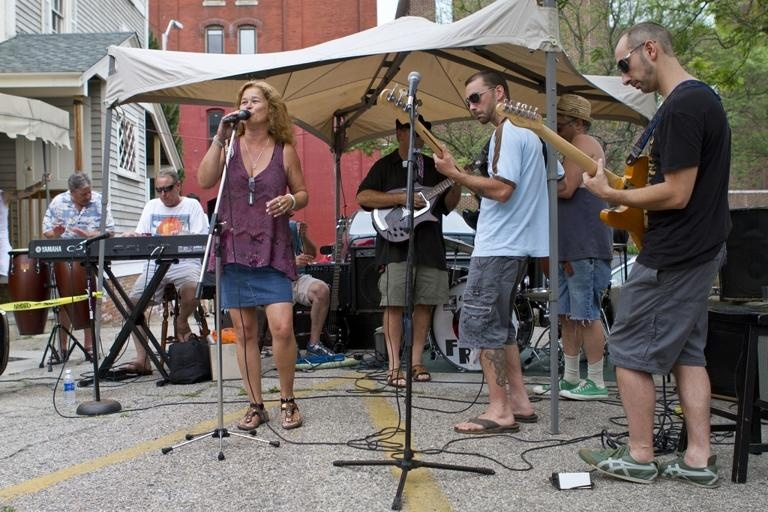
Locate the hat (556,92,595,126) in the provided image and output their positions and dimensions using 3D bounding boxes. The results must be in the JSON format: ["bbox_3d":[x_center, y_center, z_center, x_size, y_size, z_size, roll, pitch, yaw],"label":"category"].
[{"bbox_3d":[1.736,-1.371,7.772,0.308,0.172,0.225,22,3,4],"label":"hat"}]

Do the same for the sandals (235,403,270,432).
[{"bbox_3d":[-1.089,1.337,6.989,0.115,0.151,0.326,-2,-8,14],"label":"sandals"}]

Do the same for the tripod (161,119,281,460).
[{"bbox_3d":[-1.416,0.152,7.022,0.817,2.716,1.539,-1,1,-18],"label":"tripod"}]

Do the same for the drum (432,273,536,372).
[{"bbox_3d":[0.870,0.594,7.676,0.971,1.023,0.493,6,6,28],"label":"drum"}]

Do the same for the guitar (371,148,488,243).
[{"bbox_3d":[0.414,-0.544,7.992,1.211,0.529,0.145,-27,-10,12],"label":"guitar"}]

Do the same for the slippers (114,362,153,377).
[{"bbox_3d":[-2.623,1.202,8.897,0.280,0.105,0.150,9,-11,-41],"label":"slippers"}]

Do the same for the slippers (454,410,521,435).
[{"bbox_3d":[0.841,1.368,6.897,0.437,0.134,0.197,2,-9,-7],"label":"slippers"}]

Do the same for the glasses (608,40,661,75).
[{"bbox_3d":[1.802,-1.431,6.083,0.066,0.204,0.193,44,-8,8],"label":"glasses"}]

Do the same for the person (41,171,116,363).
[{"bbox_3d":[-3.567,0.028,10.021,0.714,2.050,0.637,-9,34,-31],"label":"person"}]

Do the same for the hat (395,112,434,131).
[{"bbox_3d":[0.251,-1.298,8.356,0.402,0.207,0.299,1,-6,-16],"label":"hat"}]

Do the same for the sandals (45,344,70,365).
[{"bbox_3d":[-3.724,1.132,9.659,0.197,0.229,0.222,4,-13,-17],"label":"sandals"}]

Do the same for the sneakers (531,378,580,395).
[{"bbox_3d":[1.600,1.239,7.947,0.443,0.184,0.166,-3,-3,21],"label":"sneakers"}]

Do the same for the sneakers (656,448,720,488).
[{"bbox_3d":[2.176,1.540,6.101,0.415,0.186,0.182,3,-4,36],"label":"sneakers"}]

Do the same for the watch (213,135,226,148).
[{"bbox_3d":[-1.341,-0.956,6.946,0.084,0.045,0.116,20,0,-3],"label":"watch"}]

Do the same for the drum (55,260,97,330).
[{"bbox_3d":[-3.384,0.441,9.192,0.359,0.810,0.947,-1,2,-21],"label":"drum"}]

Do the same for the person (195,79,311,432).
[{"bbox_3d":[-1.040,-0.046,7.027,0.835,2.899,0.819,-5,-8,14],"label":"person"}]

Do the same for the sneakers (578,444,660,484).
[{"bbox_3d":[1.690,1.514,6.201,0.582,0.262,0.219,11,-7,11],"label":"sneakers"}]

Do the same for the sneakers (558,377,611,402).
[{"bbox_3d":[1.844,1.247,7.838,0.497,0.229,0.193,4,-15,6],"label":"sneakers"}]
